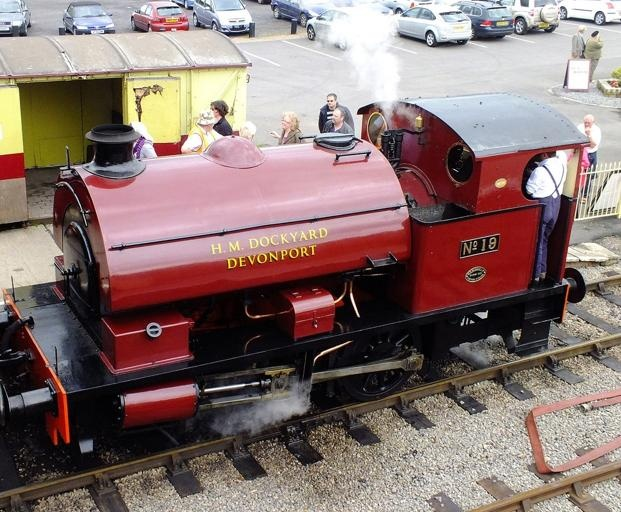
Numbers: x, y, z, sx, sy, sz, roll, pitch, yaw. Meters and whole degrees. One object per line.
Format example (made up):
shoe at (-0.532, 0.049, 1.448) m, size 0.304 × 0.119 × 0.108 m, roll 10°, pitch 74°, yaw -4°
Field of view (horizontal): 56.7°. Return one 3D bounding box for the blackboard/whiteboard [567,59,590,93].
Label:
blackboard/whiteboard at (9.290, -6.268, 19.992) m, size 0.808 × 1.025 × 0.505 m, roll 6°, pitch 31°, yaw 11°

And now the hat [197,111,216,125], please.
hat at (-1.342, -1.784, 7.362) m, size 0.231 × 0.163 × 0.151 m, roll -18°, pitch 48°, yaw -20°

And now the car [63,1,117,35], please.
car at (-9.142, -9.766, 23.580) m, size 1.769 × 1.041 × 2.149 m, roll -9°, pitch 29°, yaw -17°

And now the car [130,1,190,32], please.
car at (-6.425, -10.238, 24.743) m, size 1.682 × 1.183 × 2.557 m, roll -18°, pitch 32°, yaw -30°
